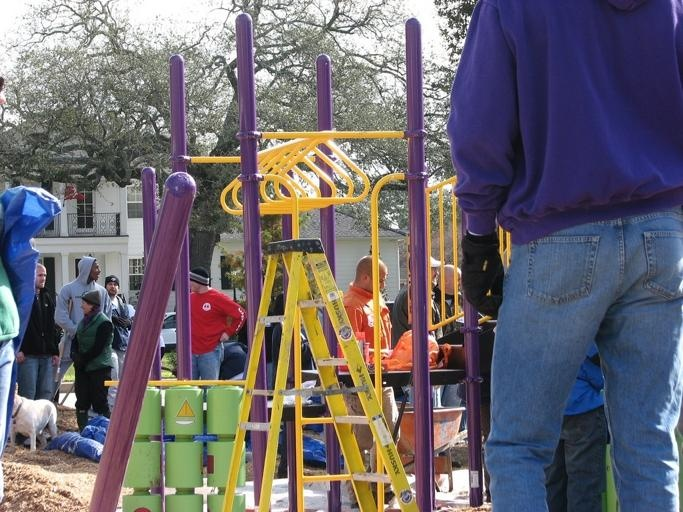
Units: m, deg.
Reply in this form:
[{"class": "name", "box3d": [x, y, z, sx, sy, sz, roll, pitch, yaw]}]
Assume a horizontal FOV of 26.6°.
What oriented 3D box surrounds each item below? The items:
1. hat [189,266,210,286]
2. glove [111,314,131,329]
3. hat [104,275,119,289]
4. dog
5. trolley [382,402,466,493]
[{"class": "hat", "box3d": [-1.525, 0.174, 15.668, 0.207, 0.162, 0.150, 26, 12, -30]}, {"class": "glove", "box3d": [-2.493, 0.716, 16.216, 0.192, 0.075, 0.149, 18, -7, -17]}, {"class": "hat", "box3d": [-2.662, 0.268, 16.704, 0.135, 0.168, 0.206, 3, -29, -6]}, {"class": "dog", "box3d": [-3.036, 1.592, 14.266, 0.610, 0.219, 0.440, 10, -20, 40]}, {"class": "trolley", "box3d": [0.836, 1.627, 12.125, 0.462, 0.650, 0.840, -14, -11, 35]}]
